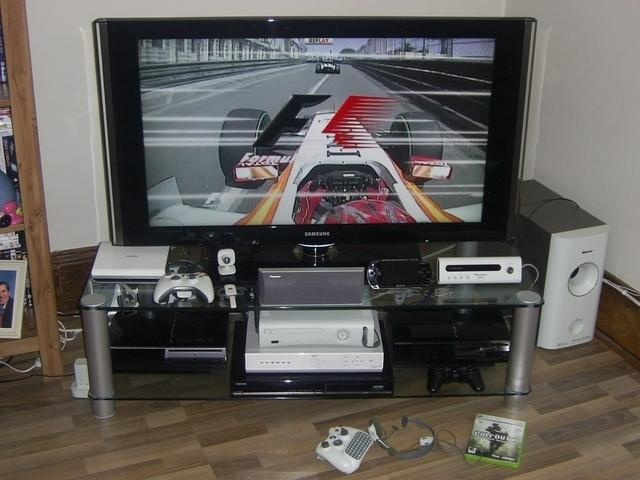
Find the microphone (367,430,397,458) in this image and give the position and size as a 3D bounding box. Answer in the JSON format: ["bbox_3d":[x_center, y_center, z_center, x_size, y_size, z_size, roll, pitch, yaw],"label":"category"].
[{"bbox_3d":[0.257,0.834,2.227,0.148,0.037,0.042,32,76,32],"label":"microphone"}]
